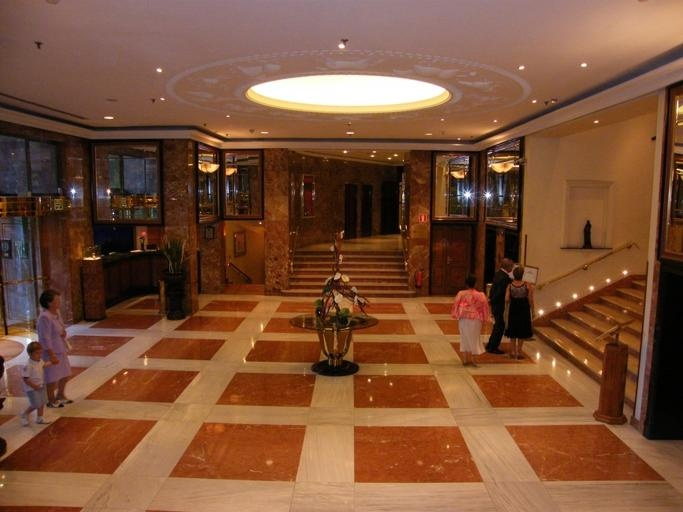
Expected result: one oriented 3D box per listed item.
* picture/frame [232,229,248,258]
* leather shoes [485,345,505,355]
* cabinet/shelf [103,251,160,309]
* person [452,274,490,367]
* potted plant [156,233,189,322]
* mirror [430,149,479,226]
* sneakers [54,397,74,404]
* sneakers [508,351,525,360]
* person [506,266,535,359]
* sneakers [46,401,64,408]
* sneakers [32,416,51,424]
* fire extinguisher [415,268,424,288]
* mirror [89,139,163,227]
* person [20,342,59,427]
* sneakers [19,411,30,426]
[{"bbox_3d":[-3.748,-0.480,18.333,0.104,1.018,1.085,-1,1,23],"label":"picture/frame"},{"bbox_3d":[2.848,1.742,9.391,0.416,0.173,0.140,0,10,15],"label":"leather shoes"},{"bbox_3d":[-5.695,0.550,13.426,0.798,1.288,1.792,4,12,19],"label":"cabinet/shelf"},{"bbox_3d":[2.201,1.096,8.587,0.582,1.623,0.588,3,12,16],"label":"person"},{"bbox_3d":[-3.868,0.515,11.588,0.596,1.801,0.781,-2,12,-12],"label":"potted plant"},{"bbox_3d":[3.117,-1.922,13.763,1.112,1.779,0.265,3,12,16],"label":"mirror"},{"bbox_3d":[-4.021,2.094,7.274,0.205,0.076,0.072,2,4,-13],"label":"sneakers"},{"bbox_3d":[3.185,1.798,9.066,0.120,0.135,0.357,0,-3,8],"label":"sneakers"},{"bbox_3d":[3.271,0.963,9.194,0.474,1.734,1.171,4,12,19],"label":"person"},{"bbox_3d":[-4.113,2.124,7.198,0.190,0.054,0.104,2,6,2],"label":"sneakers"},{"bbox_3d":[-4.023,2.217,6.750,0.210,0.130,0.092,2,12,-14],"label":"sneakers"},{"bbox_3d":[2.188,0.629,14.001,0.228,0.534,0.150,0,11,-2],"label":"fire extinguisher"},{"bbox_3d":[-5.055,-1.794,11.649,2.075,2.431,0.164,-1,2,-8],"label":"mirror"},{"bbox_3d":[-4.133,1.655,6.730,0.391,1.196,0.685,-7,13,-32],"label":"person"},{"bbox_3d":[-4.236,2.186,6.726,0.096,0.108,0.257,2,6,-14],"label":"sneakers"}]
